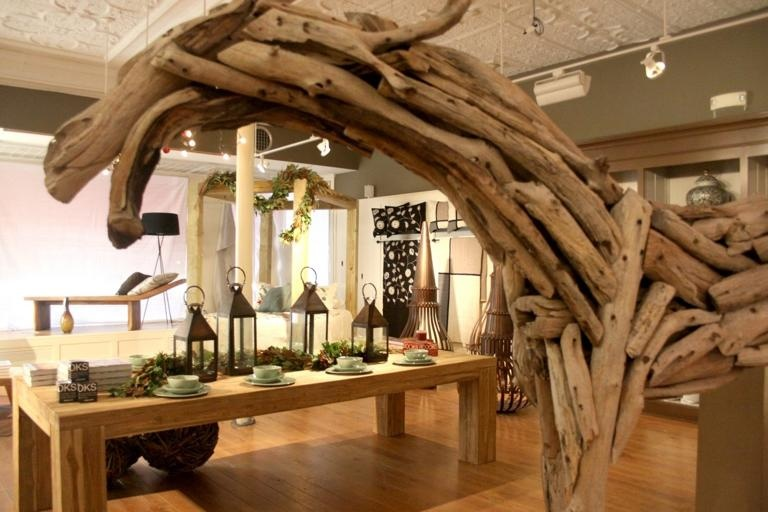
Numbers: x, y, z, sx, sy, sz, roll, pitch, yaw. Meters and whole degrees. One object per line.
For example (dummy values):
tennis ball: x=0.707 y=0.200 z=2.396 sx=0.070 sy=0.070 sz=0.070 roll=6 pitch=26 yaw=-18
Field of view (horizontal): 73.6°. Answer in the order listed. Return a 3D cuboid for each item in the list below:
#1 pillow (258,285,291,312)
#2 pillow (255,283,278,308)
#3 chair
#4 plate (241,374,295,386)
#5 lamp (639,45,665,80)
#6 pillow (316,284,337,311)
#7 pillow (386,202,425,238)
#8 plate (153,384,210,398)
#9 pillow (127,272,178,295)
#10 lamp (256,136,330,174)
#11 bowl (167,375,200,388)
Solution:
pillow: x=-1.554 y=0.619 z=7.474 sx=0.434 sy=0.390 sz=0.129 roll=-3 pitch=-27 yaw=22
pillow: x=-1.834 y=0.603 z=7.909 sx=0.104 sy=0.315 sz=0.344 roll=15 pitch=-12 yaw=-21
chair: x=-3.704 y=0.643 z=7.043 sx=1.948 sy=0.657 sz=1.113 roll=2 pitch=-3 yaw=-24
plate: x=-0.746 y=0.816 z=3.387 sx=0.333 sy=0.044 sz=0.197 roll=0 pitch=2 yaw=-13
lamp: x=2.257 y=-1.612 z=4.258 sx=0.122 sy=0.282 sz=0.325 roll=2 pitch=3 yaw=31
pillow: x=-0.868 y=0.621 z=7.618 sx=0.382 sy=0.360 sz=0.115 roll=2 pitch=-10 yaw=-41
pillow: x=0.379 y=-0.650 z=9.186 sx=0.900 sy=0.576 sz=0.171 roll=2 pitch=4 yaw=43
plate: x=-1.232 y=0.816 z=3.112 sx=0.324 sy=0.050 sz=0.165 roll=0 pitch=2 yaw=-4
pillow: x=-3.127 y=0.327 z=6.992 sx=0.444 sy=0.137 sz=0.458 roll=-25 pitch=-1 yaw=8
lamp: x=-1.552 y=-1.732 z=8.711 sx=0.504 sy=0.537 sz=1.849 roll=16 pitch=27 yaw=32
bowl: x=-1.213 y=0.758 z=3.117 sx=0.106 sy=0.042 sz=0.103 roll=0 pitch=-4 yaw=0
